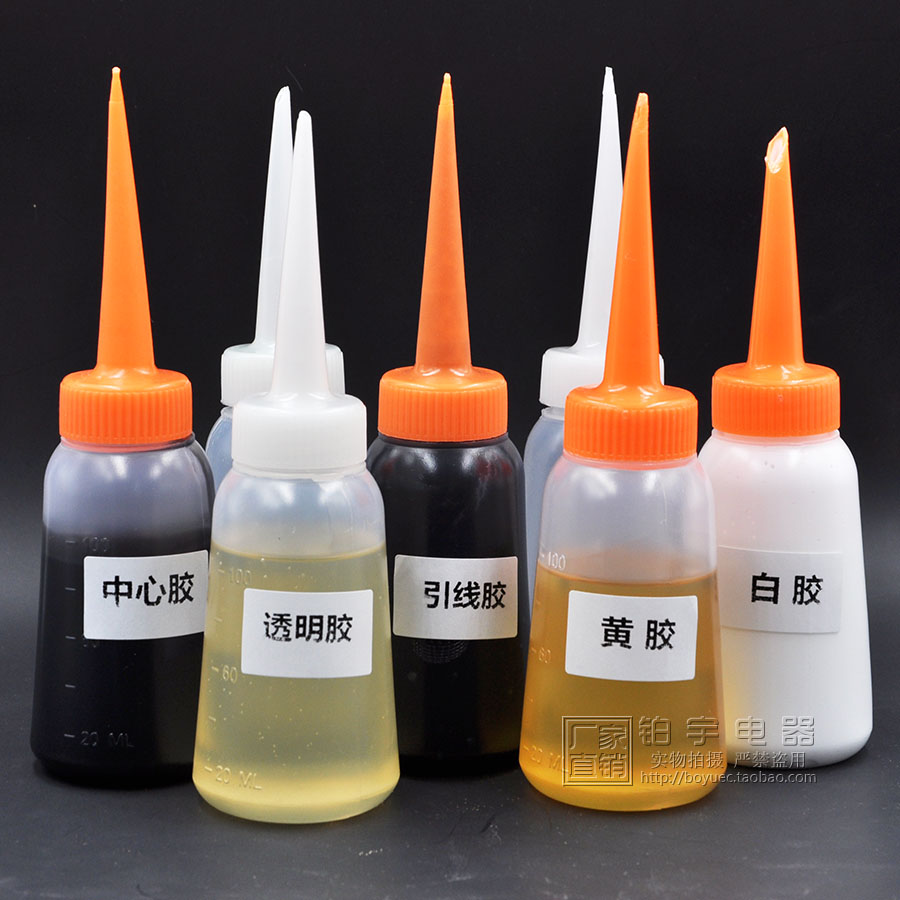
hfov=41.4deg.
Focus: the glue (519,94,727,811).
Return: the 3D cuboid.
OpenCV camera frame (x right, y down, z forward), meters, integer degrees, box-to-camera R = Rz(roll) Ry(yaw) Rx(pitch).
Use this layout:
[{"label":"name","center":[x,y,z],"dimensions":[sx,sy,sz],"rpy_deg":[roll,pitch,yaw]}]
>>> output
[{"label":"glue","center":[0.131,0.014,0.861],"dimensions":[0.154,0.523,0.109],"rpy_deg":[4,12,15]}]
